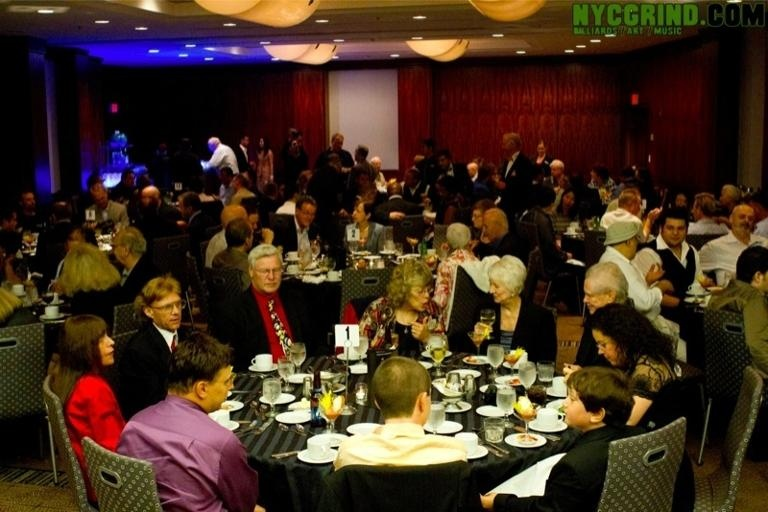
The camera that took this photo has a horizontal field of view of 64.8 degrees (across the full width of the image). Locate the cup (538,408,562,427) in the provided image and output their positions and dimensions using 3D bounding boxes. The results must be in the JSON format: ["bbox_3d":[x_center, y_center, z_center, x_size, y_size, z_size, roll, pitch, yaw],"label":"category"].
[{"bbox_3d":[0.853,0.829,3.131,0.105,0.072,0.080,3,-5,2],"label":"cup"}]

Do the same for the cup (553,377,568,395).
[{"bbox_3d":[1.017,0.751,3.520,0.081,0.068,0.089,0,-5,0],"label":"cup"}]

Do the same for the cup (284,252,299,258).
[{"bbox_3d":[-1.073,-0.018,6.932,0.113,0.059,0.084,-5,2,14],"label":"cup"}]

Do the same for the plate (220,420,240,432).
[{"bbox_3d":[-0.795,0.870,3.097,0.126,0.027,0.124,0,4,-3],"label":"plate"}]

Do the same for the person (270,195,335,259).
[{"bbox_3d":[-1.041,-0.358,7.572,0.539,1.126,0.615,-26,45,-36],"label":"person"}]

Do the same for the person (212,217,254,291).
[{"bbox_3d":[-1.895,-0.097,7.209,0.400,1.170,0.379,-22,47,-41],"label":"person"}]

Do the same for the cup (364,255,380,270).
[{"bbox_3d":[-0.120,0.056,6.650,0.150,0.105,0.149,-1,1,0],"label":"cup"}]

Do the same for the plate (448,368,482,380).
[{"bbox_3d":[0.513,0.712,3.735,0.130,0.017,0.125,-2,3,-35],"label":"plate"}]

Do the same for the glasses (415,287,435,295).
[{"bbox_3d":[0.265,0.229,4.123,0.111,0.057,0.153,-1,6,-4],"label":"glasses"}]

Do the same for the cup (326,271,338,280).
[{"bbox_3d":[-0.522,0.190,6.052,0.079,0.072,0.097,0,-1,-30],"label":"cup"}]

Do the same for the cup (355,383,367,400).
[{"bbox_3d":[-0.135,0.779,3.495,0.072,0.079,0.071,-1,0,0],"label":"cup"}]

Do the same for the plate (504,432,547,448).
[{"bbox_3d":[0.695,0.910,2.989,0.096,0.014,0.099,5,13,33],"label":"plate"}]

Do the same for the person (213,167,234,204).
[{"bbox_3d":[-3.392,-1.515,12.885,0.298,0.774,1.955,-4,9,-15],"label":"person"}]

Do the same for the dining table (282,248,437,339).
[{"bbox_3d":[-0.252,0.317,5.058,0.734,1.047,0.763,-4,12,-24],"label":"dining table"}]

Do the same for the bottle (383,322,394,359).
[{"bbox_3d":[0.032,0.560,4.130,0.038,0.159,0.116,1,21,-5],"label":"bottle"}]

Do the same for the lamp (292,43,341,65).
[{"bbox_3d":[-1.305,-3.806,11.345,0.543,0.265,0.540,-1,31,8],"label":"lamp"}]

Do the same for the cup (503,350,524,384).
[{"bbox_3d":[0.809,0.676,3.771,0.150,0.184,0.155,-2,1,0],"label":"cup"}]

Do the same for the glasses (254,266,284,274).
[{"bbox_3d":[-0.875,0.097,4.494,0.177,0.046,0.048,-4,9,-15],"label":"glasses"}]

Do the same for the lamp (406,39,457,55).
[{"bbox_3d":[0.766,-3.656,10.470,1.011,0.268,0.395,-7,10,-33],"label":"lamp"}]

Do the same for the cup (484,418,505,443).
[{"bbox_3d":[0.541,0.857,3.004,0.098,0.090,0.111,-2,-6,22],"label":"cup"}]

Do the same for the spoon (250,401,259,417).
[{"bbox_3d":[-0.717,0.842,3.343,0.022,0.056,0.056,-10,0,3],"label":"spoon"}]

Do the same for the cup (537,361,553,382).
[{"bbox_3d":[0.938,0.681,3.572,0.113,0.125,0.112,-1,-1,0],"label":"cup"}]

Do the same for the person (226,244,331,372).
[{"bbox_3d":[-0.862,0.419,4.803,0.699,0.993,0.540,-12,-15,-37],"label":"person"}]

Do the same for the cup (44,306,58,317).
[{"bbox_3d":[-2.761,0.448,5.006,0.093,0.078,0.096,0,-4,0],"label":"cup"}]

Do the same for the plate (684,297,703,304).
[{"bbox_3d":[2.647,0.367,5.179,0.146,0.028,0.191,4,10,34],"label":"plate"}]

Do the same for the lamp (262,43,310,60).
[{"bbox_3d":[-1.804,-3.793,11.148,0.829,0.250,0.426,4,10,31],"label":"lamp"}]

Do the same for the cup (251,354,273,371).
[{"bbox_3d":[-0.799,0.687,3.945,0.126,0.095,0.095,-2,6,-4],"label":"cup"}]

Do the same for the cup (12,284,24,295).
[{"bbox_3d":[-3.418,0.308,5.633,0.091,0.072,0.078,3,0,-35],"label":"cup"}]
